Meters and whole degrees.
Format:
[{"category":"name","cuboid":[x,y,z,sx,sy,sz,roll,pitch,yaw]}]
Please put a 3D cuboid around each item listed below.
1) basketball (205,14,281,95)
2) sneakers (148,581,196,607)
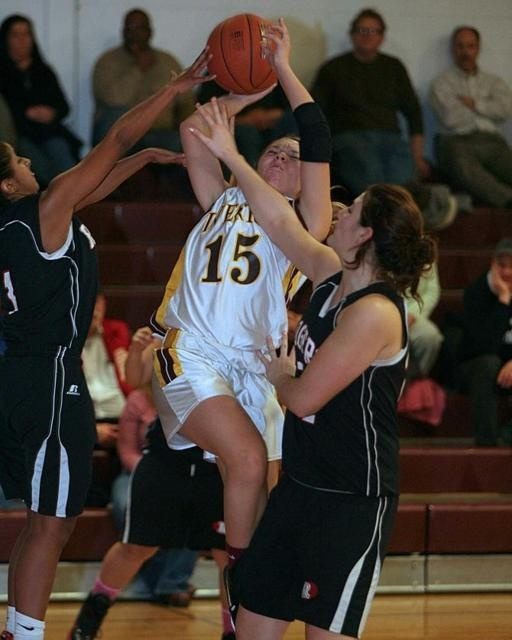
[{"category":"basketball","cuboid":[-0.006,-0.831,2.757,0.212,0.217,0.203,-16,30,-36]},{"category":"sneakers","cuboid":[-0.329,1.101,3.467,0.066,0.067,0.171,7,0,-19]}]
